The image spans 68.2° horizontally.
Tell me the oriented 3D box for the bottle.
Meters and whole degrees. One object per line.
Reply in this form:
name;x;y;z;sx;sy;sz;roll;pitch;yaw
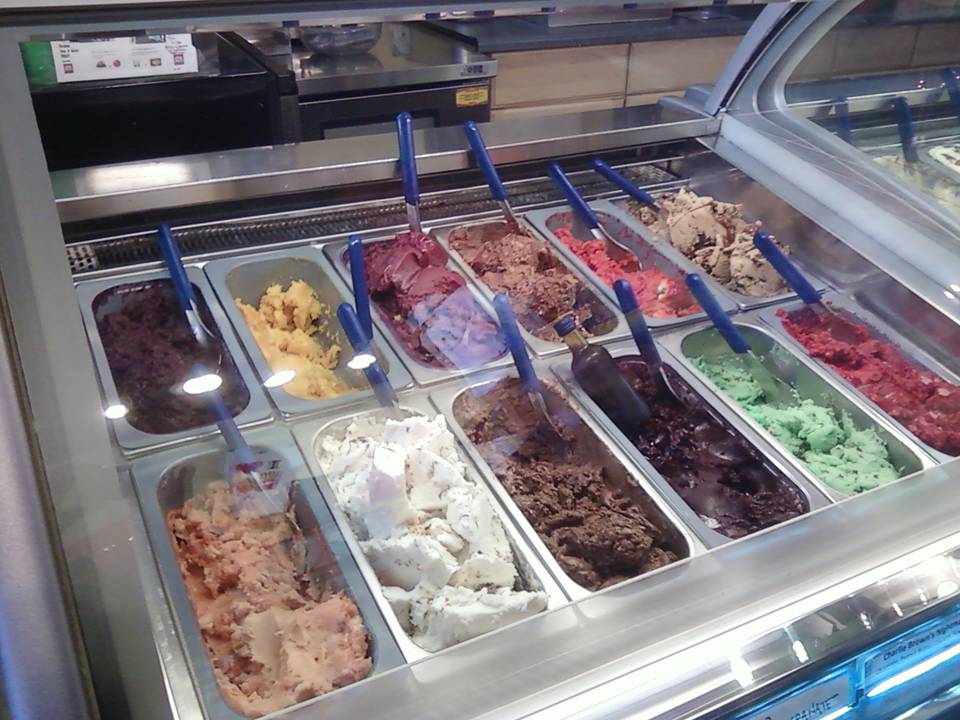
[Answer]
bottle;0.221;0.028;1.318;0.084;0.182;0.067;-31;-18;2
